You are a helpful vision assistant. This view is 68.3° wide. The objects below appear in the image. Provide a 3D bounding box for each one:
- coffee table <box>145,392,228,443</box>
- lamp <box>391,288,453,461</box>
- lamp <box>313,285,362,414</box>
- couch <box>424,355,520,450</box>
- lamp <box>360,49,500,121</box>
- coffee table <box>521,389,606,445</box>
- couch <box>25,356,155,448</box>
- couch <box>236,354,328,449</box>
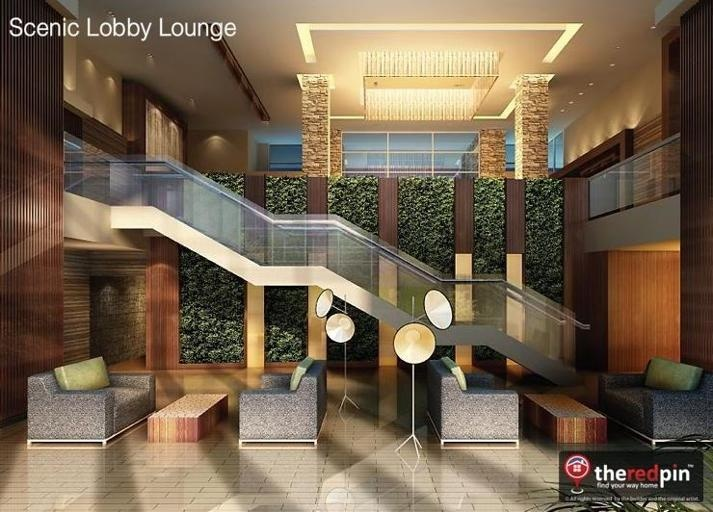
[{"bbox_3d":[-2.791,2.663,8.772,0.910,0.442,1.279,1,7,7],"label":"coffee table"},{"bbox_3d":[1.090,1.686,8.377,0.793,2.560,2.097,1,7,9],"label":"lamp"},{"bbox_3d":[-0.295,1.573,8.990,0.766,1.978,0.703,-2,-12,6],"label":"lamp"},{"bbox_3d":[1.906,2.460,9.327,1.279,1.045,2.271,0,-2,-3],"label":"couch"},{"bbox_3d":[1.816,-4.409,13.645,3.277,1.486,1.699,0,7,2],"label":"lamp"},{"bbox_3d":[3.411,2.646,8.671,0.910,0.456,1.231,-1,7,-8],"label":"coffee table"},{"bbox_3d":[-4.323,2.290,8.658,1.363,1.083,1.304,0,7,3],"label":"couch"},{"bbox_3d":[-1.166,2.343,8.623,1.205,1.022,1.264,0,7,3],"label":"couch"}]
